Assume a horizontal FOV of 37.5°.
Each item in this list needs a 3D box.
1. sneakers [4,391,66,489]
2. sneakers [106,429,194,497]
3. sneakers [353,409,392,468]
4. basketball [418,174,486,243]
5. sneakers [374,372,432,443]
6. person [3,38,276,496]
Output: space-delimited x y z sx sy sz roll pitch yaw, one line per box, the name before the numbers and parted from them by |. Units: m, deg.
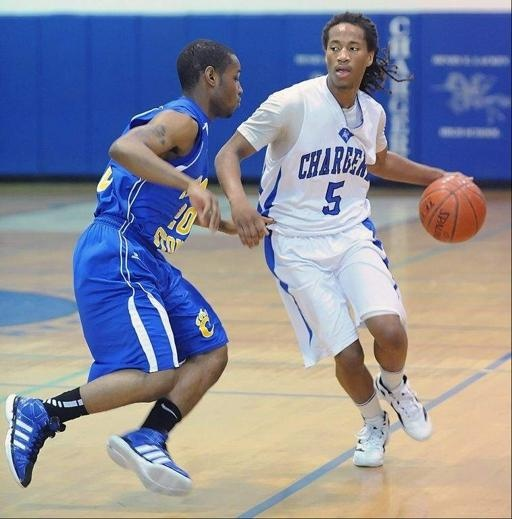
sneakers | -0.842 0.687 2.794 0.209 0.355 0.221 6 11 36
sneakers | -0.392 0.755 2.767 0.239 0.087 0.160 35 24 -9
sneakers | 0.486 0.736 3.116 0.096 0.110 0.264 2 25 17
basketball | 0.886 -0.243 3.531 0.304 0.307 0.299 14 19 -5
sneakers | 0.629 0.624 3.225 0.131 0.366 0.148 -35 -16 2
person | -0.390 0.014 2.819 0.758 1.713 1.009 8 12 43
